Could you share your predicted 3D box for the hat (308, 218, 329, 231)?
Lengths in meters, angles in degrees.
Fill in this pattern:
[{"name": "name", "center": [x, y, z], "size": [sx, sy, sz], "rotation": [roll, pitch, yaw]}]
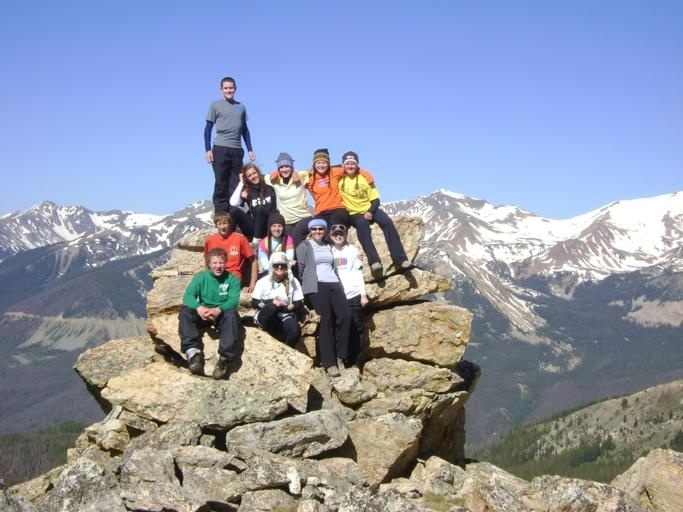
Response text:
[{"name": "hat", "center": [-1.021, -1.443, 25.879], "size": [0.792, 0.486, 0.915], "rotation": [-1, 11, -9]}]
